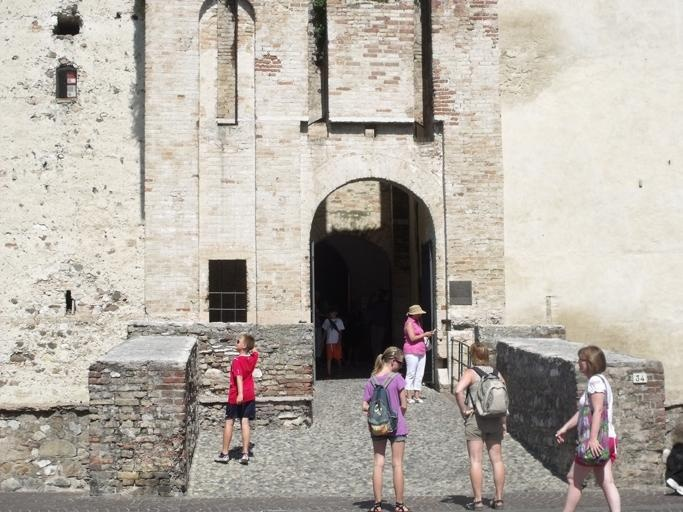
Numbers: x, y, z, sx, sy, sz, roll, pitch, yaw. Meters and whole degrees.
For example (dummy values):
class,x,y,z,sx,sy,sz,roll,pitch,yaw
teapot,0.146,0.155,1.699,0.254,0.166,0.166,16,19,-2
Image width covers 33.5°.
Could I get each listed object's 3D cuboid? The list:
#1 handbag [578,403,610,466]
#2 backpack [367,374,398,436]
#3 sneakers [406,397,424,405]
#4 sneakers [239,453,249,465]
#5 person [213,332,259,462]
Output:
class,x,y,z,sx,sy,sz,roll,pitch,yaw
handbag,3.373,2.385,15.155,0.432,0.850,0.268,2,-2,15
backpack,0.565,2.097,15.864,0.450,0.753,0.418,-5,-1,21
sneakers,1.369,2.703,21.118,0.313,0.112,0.106,-7,-11,14
sneakers,-1.518,3.225,17.927,0.081,0.150,0.236,4,10,-9
person,-1.646,2.284,18.307,0.554,2.047,1.325,3,-2,-4
